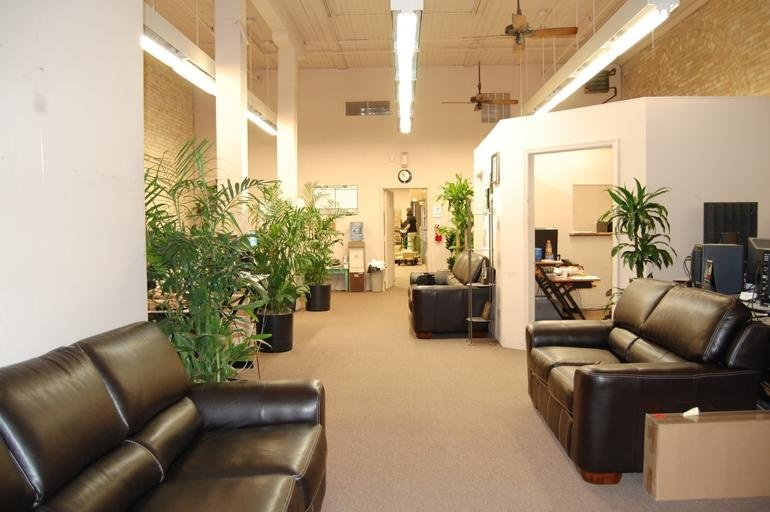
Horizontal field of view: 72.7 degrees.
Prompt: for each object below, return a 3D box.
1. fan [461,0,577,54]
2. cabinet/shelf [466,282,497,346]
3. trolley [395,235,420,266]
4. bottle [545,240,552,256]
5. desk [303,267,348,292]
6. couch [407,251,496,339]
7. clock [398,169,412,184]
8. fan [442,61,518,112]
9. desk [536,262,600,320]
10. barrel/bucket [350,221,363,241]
[{"bbox_3d":[2.398,-4.167,9.412,1.677,0.910,1.702,-1,4,2],"label":"fan"},{"bbox_3d":[1.338,0.788,7.316,0.411,0.831,0.508,1,9,8],"label":"cabinet/shelf"},{"bbox_3d":[0.806,-0.135,18.639,0.698,0.766,1.153,-1,2,8],"label":"trolley"},{"bbox_3d":[2.732,-0.123,8.696,0.102,0.261,0.176,3,9,17],"label":"bottle"},{"bbox_3d":[-1.190,0.543,12.143,0.821,0.593,0.447,0,1,0],"label":"desk"},{"bbox_3d":[0.965,0.211,7.926,1.074,1.101,1.904,0,2,3],"label":"couch"},{"bbox_3d":[0.455,-1.877,12.361,0.338,0.336,0.118,0,9,0],"label":"clock"},{"bbox_3d":[2.114,-3.353,11.194,1.761,1.201,1.782,0,5,2],"label":"fan"},{"bbox_3d":[2.879,0.578,8.263,0.499,0.431,0.885,25,1,5],"label":"desk"},{"bbox_3d":[-0.659,-0.553,12.137,0.376,0.555,0.379,1,1,0],"label":"barrel/bucket"}]
